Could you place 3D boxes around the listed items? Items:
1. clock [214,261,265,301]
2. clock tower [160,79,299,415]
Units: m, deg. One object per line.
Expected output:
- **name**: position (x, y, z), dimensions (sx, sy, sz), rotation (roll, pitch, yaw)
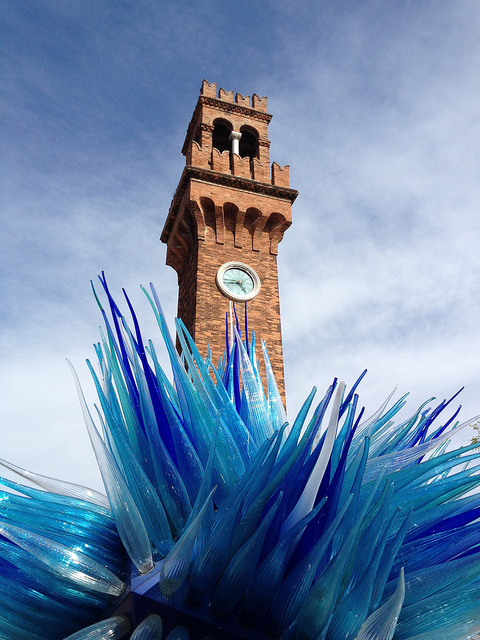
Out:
- **clock**: position (-0.054, -0.686, 15.077), dimensions (0.817, 0.777, 0.069), rotation (17, -54, -21)
- **clock tower**: position (-0.227, -2.002, 16.311), dimensions (2.370, 7.972, 4.825), rotation (-1, -14, 1)
